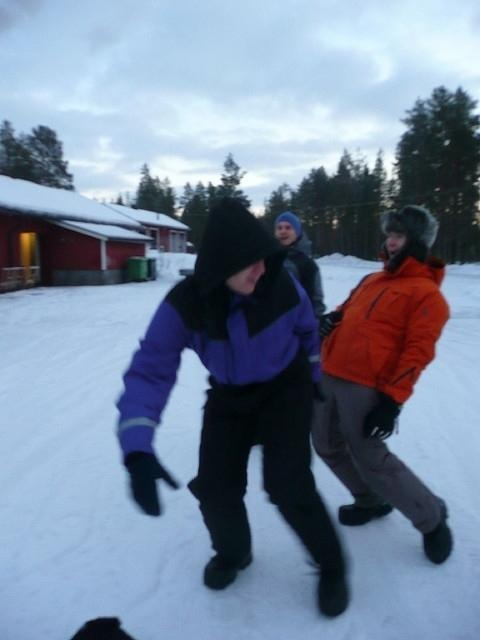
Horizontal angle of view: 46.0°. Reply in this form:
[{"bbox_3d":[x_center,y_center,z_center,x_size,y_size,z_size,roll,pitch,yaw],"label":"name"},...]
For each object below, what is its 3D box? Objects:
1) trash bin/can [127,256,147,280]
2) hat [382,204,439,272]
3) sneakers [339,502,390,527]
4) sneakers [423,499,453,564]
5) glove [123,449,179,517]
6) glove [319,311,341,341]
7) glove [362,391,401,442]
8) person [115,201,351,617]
[{"bbox_3d":[-3.559,-1.782,19.489,0.510,0.644,0.745,5,17,11],"label":"trash bin/can"},{"bbox_3d":[0.889,-0.436,2.935,0.295,0.309,0.250,8,8,0],"label":"hat"},{"bbox_3d":[0.639,1.013,3.030,0.294,0.117,0.100,-7,8,-15],"label":"sneakers"},{"bbox_3d":[0.924,0.994,2.695,0.137,0.279,0.130,-9,-14,25],"label":"sneakers"},{"bbox_3d":[-0.326,0.598,2.025,0.188,0.065,0.245,-17,54,-29],"label":"glove"},{"bbox_3d":[0.504,0.021,3.050,0.050,0.158,0.120,42,-27,-15],"label":"glove"},{"bbox_3d":[0.644,0.435,2.570,0.144,0.231,0.090,14,-8,20],"label":"glove"},{"bbox_3d":[-0.004,0.481,2.305,0.965,1.481,0.704,-4,13,-13],"label":"person"}]
